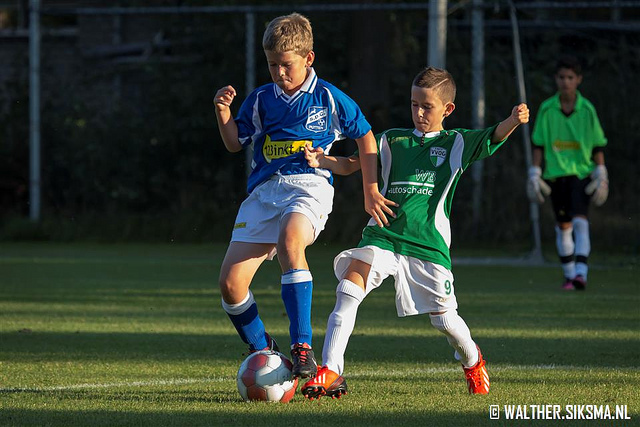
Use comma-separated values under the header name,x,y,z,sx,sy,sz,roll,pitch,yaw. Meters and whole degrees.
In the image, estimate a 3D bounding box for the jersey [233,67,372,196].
name,x,y,z,sx,sy,sz,roll,pitch,yaw
jersey,-0.184,-0.566,9.000,1.011,1.146,0.633,2,-14,-1

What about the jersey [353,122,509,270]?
name,x,y,z,sx,sy,sz,roll,pitch,yaw
jersey,0.719,-0.163,8.830,1.482,1.333,0.446,5,-9,17

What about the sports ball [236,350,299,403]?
name,x,y,z,sx,sy,sz,roll,pitch,yaw
sports ball,-0.392,1.202,8.566,0.352,0.454,0.349,-5,-4,0

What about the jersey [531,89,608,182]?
name,x,y,z,sx,sy,sz,roll,pitch,yaw
jersey,2.346,-0.730,11.158,0.689,0.853,0.425,2,8,16
